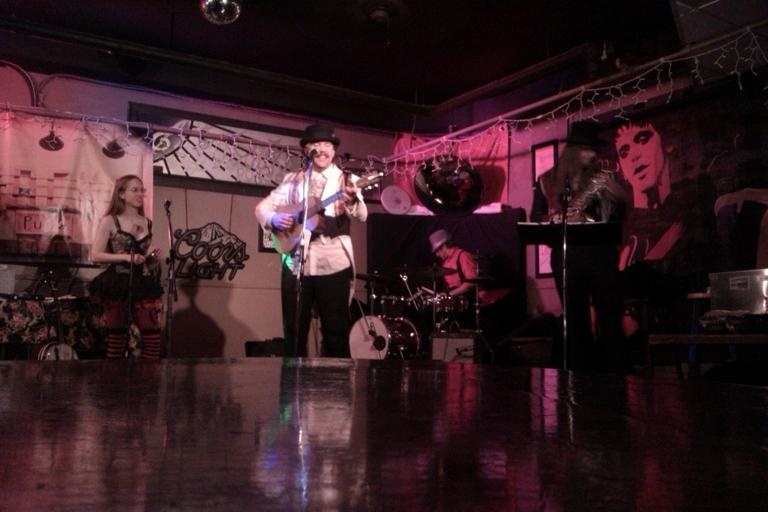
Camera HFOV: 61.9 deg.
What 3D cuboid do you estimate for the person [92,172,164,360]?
[{"bbox_3d":[-2.558,0.103,6.313,0.650,1.761,0.576,-4,9,-24],"label":"person"}]

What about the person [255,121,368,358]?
[{"bbox_3d":[-0.475,-0.124,4.397,0.761,1.569,0.828,-2,9,-10],"label":"person"}]

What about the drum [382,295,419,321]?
[{"bbox_3d":[0.159,0.527,6.615,0.313,0.219,0.311,-2,-7,0],"label":"drum"}]

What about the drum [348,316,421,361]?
[{"bbox_3d":[0.001,0.792,6.087,0.437,0.423,0.361,-14,-5,41],"label":"drum"}]

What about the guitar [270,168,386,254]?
[{"bbox_3d":[-0.422,-0.275,4.478,0.907,0.358,0.132,-32,-18,16],"label":"guitar"}]
